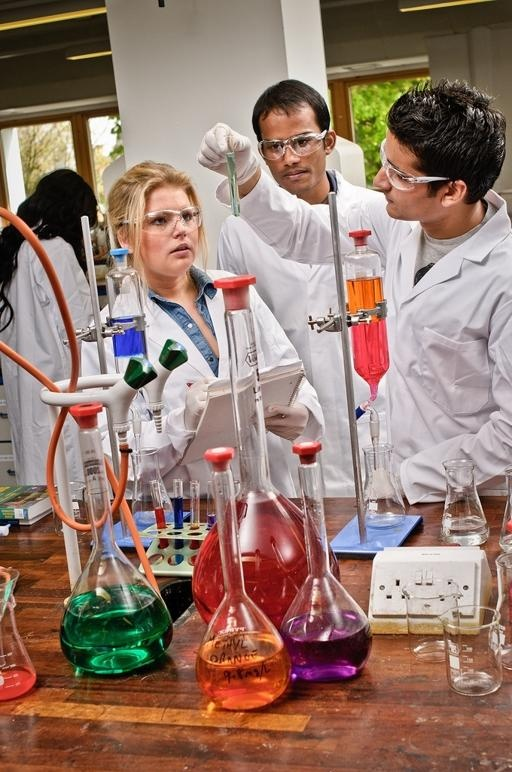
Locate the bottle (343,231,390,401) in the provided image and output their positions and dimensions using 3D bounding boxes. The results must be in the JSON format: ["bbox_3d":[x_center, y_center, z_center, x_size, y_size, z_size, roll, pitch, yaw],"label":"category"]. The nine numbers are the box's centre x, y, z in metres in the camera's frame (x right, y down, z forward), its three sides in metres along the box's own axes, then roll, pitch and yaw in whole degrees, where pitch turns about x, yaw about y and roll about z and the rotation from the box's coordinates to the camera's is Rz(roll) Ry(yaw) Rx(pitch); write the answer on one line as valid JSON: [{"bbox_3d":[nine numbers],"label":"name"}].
[{"bbox_3d":[0.202,-0.131,1.105,0.071,0.301,0.192,-8,4,12],"label":"bottle"}]

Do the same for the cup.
[{"bbox_3d":[0.221,0.281,0.677,0.102,0.100,0.063,-4,10,22],"label":"cup"}]

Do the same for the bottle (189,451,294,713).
[{"bbox_3d":[-0.026,0.207,0.613,0.095,0.210,0.067,-9,4,-4],"label":"bottle"}]

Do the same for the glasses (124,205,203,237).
[{"bbox_3d":[-0.227,-0.471,1.731,0.183,0.055,0.059,-10,4,-33],"label":"glasses"}]
